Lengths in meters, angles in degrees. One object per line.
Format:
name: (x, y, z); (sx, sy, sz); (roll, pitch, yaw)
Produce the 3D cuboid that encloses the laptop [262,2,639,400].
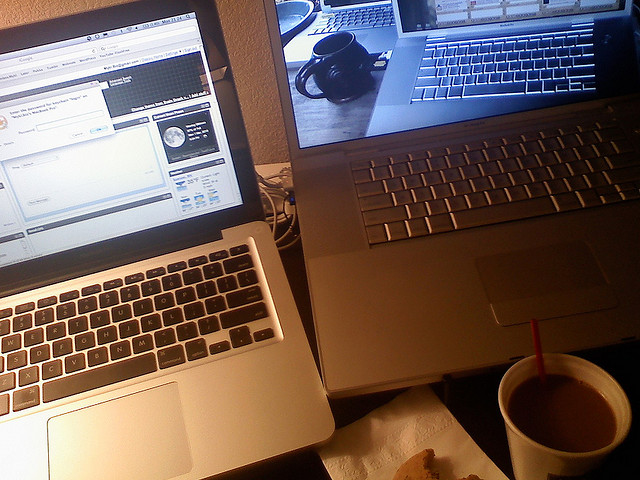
laptop: (0.236, -0.001, 0.907); (0.652, 0.541, 0.444); (-10, -30, -3)
